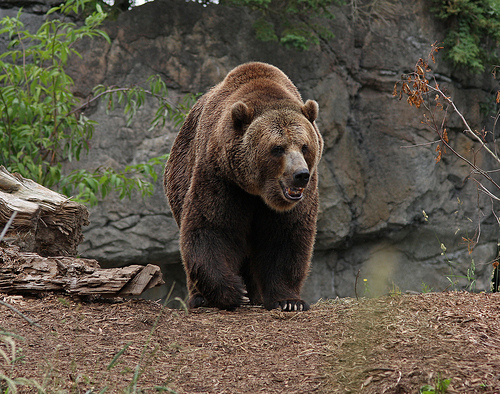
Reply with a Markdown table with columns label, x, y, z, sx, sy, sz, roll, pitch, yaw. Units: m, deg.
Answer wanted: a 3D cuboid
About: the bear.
| label | x | y | z | sx | sy | sz | roll | pitch | yaw |
| --- | --- | --- | --- | --- | --- | --- | --- | --- | --- |
| bear | -0.065 | -0.075 | 9.373 | 1.841 | 2.812 | 3.216 | 0 | -3 | -10 |
